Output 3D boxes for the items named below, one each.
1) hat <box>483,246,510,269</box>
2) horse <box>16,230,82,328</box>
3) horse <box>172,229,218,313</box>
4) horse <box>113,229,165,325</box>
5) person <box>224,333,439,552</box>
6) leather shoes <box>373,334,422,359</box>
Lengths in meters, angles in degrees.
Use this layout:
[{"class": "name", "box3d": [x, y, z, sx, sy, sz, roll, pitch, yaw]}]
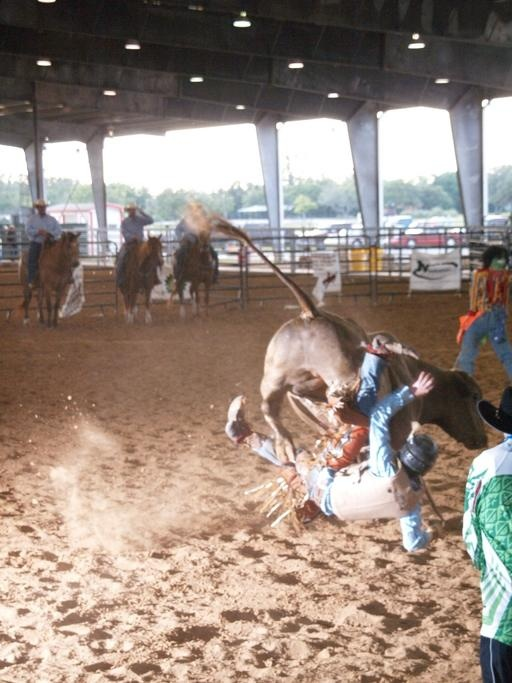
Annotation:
[{"class": "hat", "box3d": [1.956, -0.689, 6.323, 0.236, 0.208, 0.229, 0, 1, 17]}, {"class": "horse", "box3d": [-3.365, -0.974, 12.535, 0.590, 1.369, 2.153, 1, -2, -35]}, {"class": "horse", "box3d": [-1.060, -1.201, 13.745, 0.655, 1.409, 2.255, -4, 3, -15]}, {"class": "horse", "box3d": [-1.919, -1.048, 12.724, 0.741, 1.433, 1.149, -3, 11, -10]}, {"class": "person", "box3d": [0.353, 0.509, 3.487, 0.624, 1.100, 1.151, -6, 12, -23]}, {"class": "leather shoes", "box3d": [0.609, 0.024, 3.438, 0.190, 0.134, 0.415, 0, 10, 7]}]
